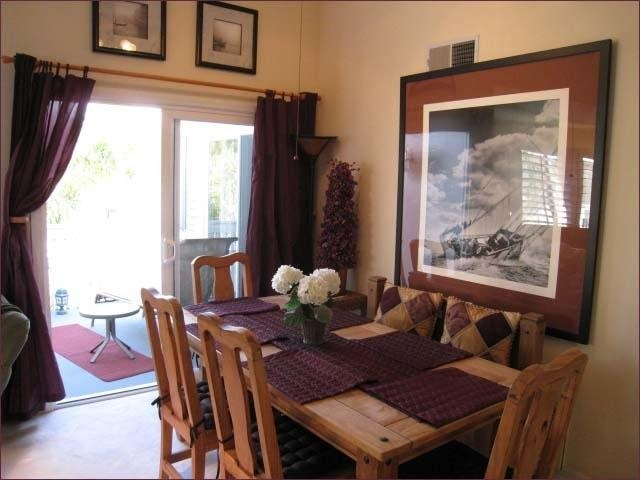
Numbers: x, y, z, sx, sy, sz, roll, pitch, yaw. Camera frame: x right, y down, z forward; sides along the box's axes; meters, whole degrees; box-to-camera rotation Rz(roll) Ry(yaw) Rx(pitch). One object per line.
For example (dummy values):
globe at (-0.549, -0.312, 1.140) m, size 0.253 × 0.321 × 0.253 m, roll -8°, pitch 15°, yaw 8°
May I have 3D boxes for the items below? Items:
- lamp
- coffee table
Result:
lamp at (-0.066, -0.287, 4.597) m, size 0.380 × 1.363 × 0.386 m, roll 0°, pitch 10°, yaw -1°
coffee table at (-2.055, 0.836, 4.697) m, size 0.534 × 0.432 × 0.538 m, roll 0°, pitch 7°, yaw -24°
